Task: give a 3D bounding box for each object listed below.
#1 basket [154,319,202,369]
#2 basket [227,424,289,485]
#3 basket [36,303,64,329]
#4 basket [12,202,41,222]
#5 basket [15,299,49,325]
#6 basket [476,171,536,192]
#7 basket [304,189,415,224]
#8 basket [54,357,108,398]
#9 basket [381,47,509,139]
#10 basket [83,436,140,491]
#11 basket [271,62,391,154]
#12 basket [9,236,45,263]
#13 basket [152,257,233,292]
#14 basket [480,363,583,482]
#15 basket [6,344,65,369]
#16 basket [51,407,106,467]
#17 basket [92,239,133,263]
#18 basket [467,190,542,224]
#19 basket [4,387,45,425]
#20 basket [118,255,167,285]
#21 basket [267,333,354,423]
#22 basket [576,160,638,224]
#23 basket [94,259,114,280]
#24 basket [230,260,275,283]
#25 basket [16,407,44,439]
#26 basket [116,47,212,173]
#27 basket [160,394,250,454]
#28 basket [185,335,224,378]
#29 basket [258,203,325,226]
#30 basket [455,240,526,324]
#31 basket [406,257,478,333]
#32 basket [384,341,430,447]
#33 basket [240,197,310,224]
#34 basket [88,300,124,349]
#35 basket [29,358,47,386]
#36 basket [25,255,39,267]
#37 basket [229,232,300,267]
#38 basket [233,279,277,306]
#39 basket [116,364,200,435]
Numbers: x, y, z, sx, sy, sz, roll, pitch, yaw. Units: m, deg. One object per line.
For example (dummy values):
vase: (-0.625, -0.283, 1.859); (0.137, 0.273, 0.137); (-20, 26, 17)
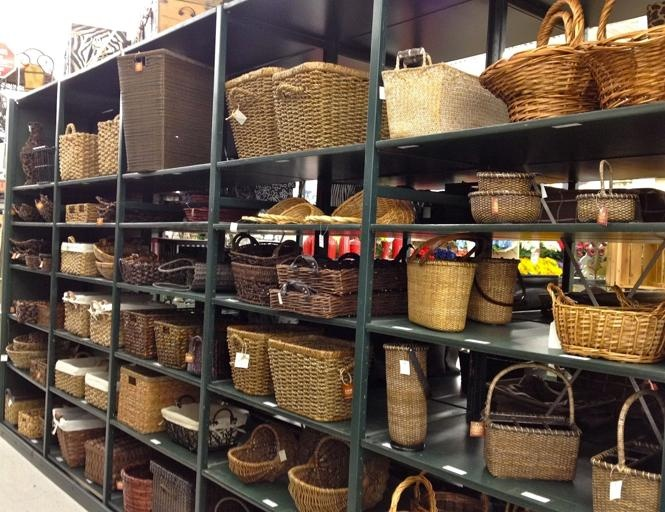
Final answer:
basket: (-1.058, 0.597, 3.784); (0.246, 0.214, 0.332); (-7, -9, 10)
basket: (-0.416, 1.175, 3.337); (0.293, 0.296, 0.437); (-1, 0, 45)
basket: (-2.580, 0.523, 5.169); (0.271, 0.178, 0.272); (2, 2, 32)
basket: (-3.064, -0.435, 5.551); (0.246, 0.099, 0.244); (4, 1, -19)
basket: (-2.866, 0.525, 5.300); (0.271, 0.132, 0.381); (2, -4, -27)
basket: (0.735, -0.308, 2.332); (0.222, 0.099, 0.200); (0, 4, 18)
basket: (0.167, -0.263, 2.962); (0.552, 0.180, 0.712); (-1, 4, 9)
basket: (-2.131, 0.983, 4.757); (0.339, 0.258, 0.440); (2, -1, 34)
basket: (0.550, -0.716, 2.591); (0.334, 0.268, 0.633); (4, 7, 44)
basket: (-1.682, 1.540, 4.334); (0.413, 0.260, 0.424); (2, -1, 41)
basket: (0.028, -0.770, 3.018); (0.593, 0.333, 0.462); (-5, 8, -43)
basket: (-3.091, -0.069, 5.557); (0.406, 0.244, 0.317); (3, -1, -2)
basket: (-0.901, 0.134, 3.655); (0.407, 0.131, 0.292); (2, 1, -23)
basket: (0.856, 0.690, 2.397); (0.419, 0.447, 0.269); (2, -3, 15)
basket: (-2.805, 0.942, 5.297); (0.358, 0.146, 0.341); (7, -9, -36)
basket: (-2.140, 1.538, 4.818); (0.404, 0.350, 0.523); (2, -5, 45)
basket: (-1.781, -0.049, 4.494); (0.258, 0.082, 0.236); (1, 6, -8)
basket: (0.749, -0.201, 2.391); (0.289, 0.123, 0.321); (3, 3, 39)
basket: (-3.172, 1.490, 5.700); (0.390, 0.247, 0.402); (-5, -9, 42)
basket: (-1.351, 0.098, 3.939); (0.219, 0.154, 0.291); (-1, -3, 44)
basket: (-0.064, 0.645, 2.953); (0.357, 0.292, 0.460); (2, -1, -42)
basket: (1.022, -0.237, 2.064); (0.161, 0.207, 0.223); (-6, 5, -44)
basket: (-1.758, 0.099, 4.316); (0.173, 0.104, 0.164); (1, -2, -32)
basket: (-0.450, 0.094, 3.186); (0.317, 0.114, 0.084); (2, 5, 40)
basket: (-2.898, 1.582, 5.335); (0.278, 0.169, 0.286); (3, 0, 42)
basket: (-1.170, -1.045, 3.947); (0.451, 0.625, 0.682); (4, 12, 20)
basket: (-0.882, 1.141, 3.794); (0.530, 0.219, 0.455); (0, -5, 41)
basket: (-0.787, 0.619, 3.534); (0.198, 0.247, 0.268); (0, -2, -42)
basket: (-0.238, -0.232, 3.152); (0.256, 0.084, 0.187); (-3, 6, -39)
basket: (0.836, 0.176, 2.814); (0.205, 0.290, 0.305); (3, -3, -13)
basket: (0.507, 0.147, 2.627); (0.268, 0.355, 0.389); (3, 0, -10)
basket: (0.347, 0.637, 2.578); (0.194, 0.485, 0.153); (-1, 4, 4)
basket: (-0.363, -0.267, 3.291); (0.359, 0.069, 0.196); (-14, 16, -43)
basket: (-1.775, 0.516, 4.284); (0.308, 0.357, 0.385); (0, 4, -41)
basket: (-2.737, 1.066, 5.181); (0.160, 0.177, 0.283); (5, -3, -43)
basket: (-2.837, 0.043, 5.246); (0.150, 0.099, 0.133); (1, 0, -7)
basket: (-0.418, -0.027, 3.397); (0.266, 0.152, 0.337); (2, 3, 25)
basket: (-0.441, 0.203, 3.163); (0.209, 0.072, 0.137); (5, -4, -40)
basket: (-1.274, 1.056, 4.137); (0.674, 0.330, 0.626); (3, -11, -2)
